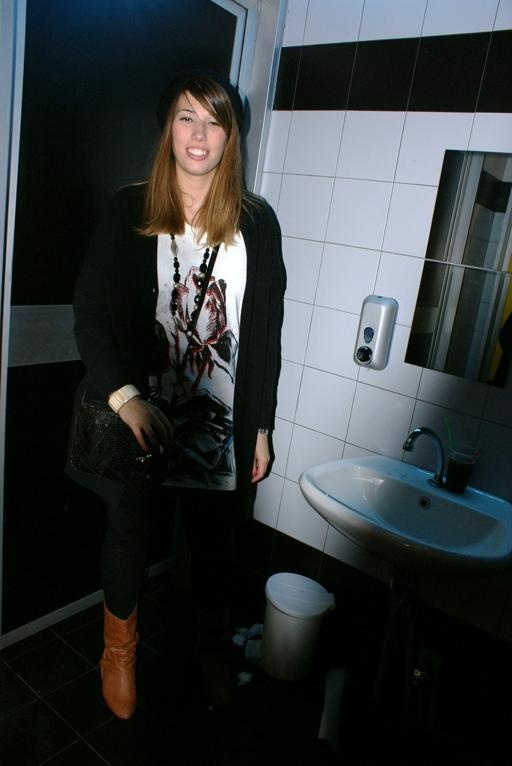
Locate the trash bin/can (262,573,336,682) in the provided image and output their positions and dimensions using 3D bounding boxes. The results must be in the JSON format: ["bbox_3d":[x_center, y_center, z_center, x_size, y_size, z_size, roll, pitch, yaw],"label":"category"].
[{"bbox_3d":[0.069,0.668,1.682,0.224,0.261,0.211,-1,14,-16],"label":"trash bin/can"}]

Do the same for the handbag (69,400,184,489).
[{"bbox_3d":[-0.356,0.144,1.569,0.236,0.197,0.177,35,22,15],"label":"handbag"}]

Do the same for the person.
[{"bbox_3d":[-0.180,0.025,1.512,0.525,1.483,0.315,-3,15,-40],"label":"person"}]
